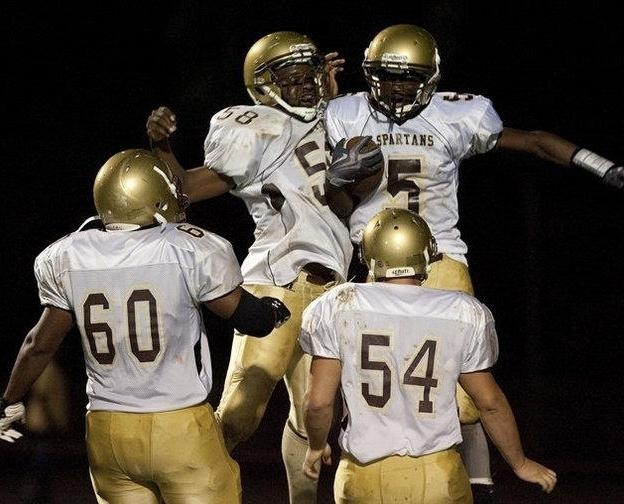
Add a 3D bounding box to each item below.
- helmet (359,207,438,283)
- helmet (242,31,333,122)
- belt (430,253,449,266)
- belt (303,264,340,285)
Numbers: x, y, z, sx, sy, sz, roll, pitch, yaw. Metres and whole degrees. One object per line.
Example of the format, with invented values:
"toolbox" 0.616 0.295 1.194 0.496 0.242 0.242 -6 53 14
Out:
"helmet" 0.341 -0.040 3.667 0.281 0.266 0.369 2 9 10
"helmet" -0.161 -0.889 4.515 0.403 0.370 0.327 -1 18 35
"belt" 0.561 0.030 4.060 0.073 0.016 0.063 -2 -17 -36
"belt" 0.041 0.095 4.277 0.151 0.087 0.076 23 29 6
